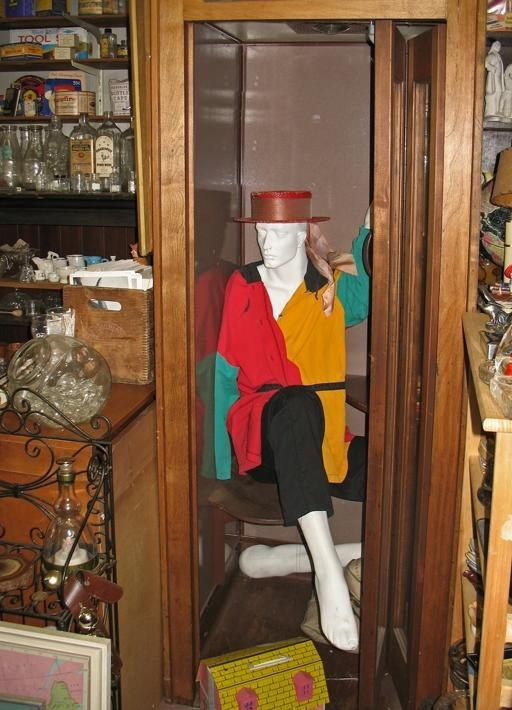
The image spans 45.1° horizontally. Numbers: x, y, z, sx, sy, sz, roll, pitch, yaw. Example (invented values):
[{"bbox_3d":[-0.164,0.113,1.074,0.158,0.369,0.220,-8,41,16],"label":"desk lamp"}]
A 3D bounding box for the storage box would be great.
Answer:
[{"bbox_3d":[-0.331,-0.059,1.666,0.302,0.296,0.225,2,4,13],"label":"storage box"}]

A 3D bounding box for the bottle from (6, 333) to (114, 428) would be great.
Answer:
[{"bbox_3d":[-0.365,0.048,1.154,0.179,0.186,0.177,-13,-3,14],"label":"bottle"}]

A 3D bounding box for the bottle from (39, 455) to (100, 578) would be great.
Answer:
[{"bbox_3d":[-0.311,0.260,1.008,0.088,0.207,0.172,-2,12,-12],"label":"bottle"}]

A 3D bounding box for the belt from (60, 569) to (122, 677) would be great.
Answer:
[{"bbox_3d":[-0.248,0.375,0.930,0.038,0.157,0.111,-34,-13,-16],"label":"belt"}]
